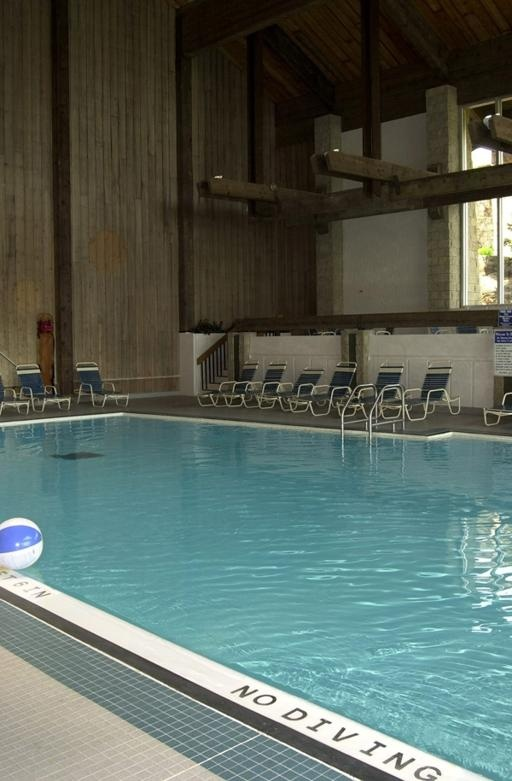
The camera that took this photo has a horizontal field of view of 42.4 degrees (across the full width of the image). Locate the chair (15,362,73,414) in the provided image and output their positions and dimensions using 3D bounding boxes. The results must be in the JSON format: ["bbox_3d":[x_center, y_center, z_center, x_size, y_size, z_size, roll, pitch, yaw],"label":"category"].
[{"bbox_3d":[-4.251,-0.066,13.100,0.946,0.863,2.287,-3,5,-20],"label":"chair"}]

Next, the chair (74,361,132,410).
[{"bbox_3d":[-3.343,-0.134,14.185,0.747,1.141,1.521,-3,4,-38],"label":"chair"}]
